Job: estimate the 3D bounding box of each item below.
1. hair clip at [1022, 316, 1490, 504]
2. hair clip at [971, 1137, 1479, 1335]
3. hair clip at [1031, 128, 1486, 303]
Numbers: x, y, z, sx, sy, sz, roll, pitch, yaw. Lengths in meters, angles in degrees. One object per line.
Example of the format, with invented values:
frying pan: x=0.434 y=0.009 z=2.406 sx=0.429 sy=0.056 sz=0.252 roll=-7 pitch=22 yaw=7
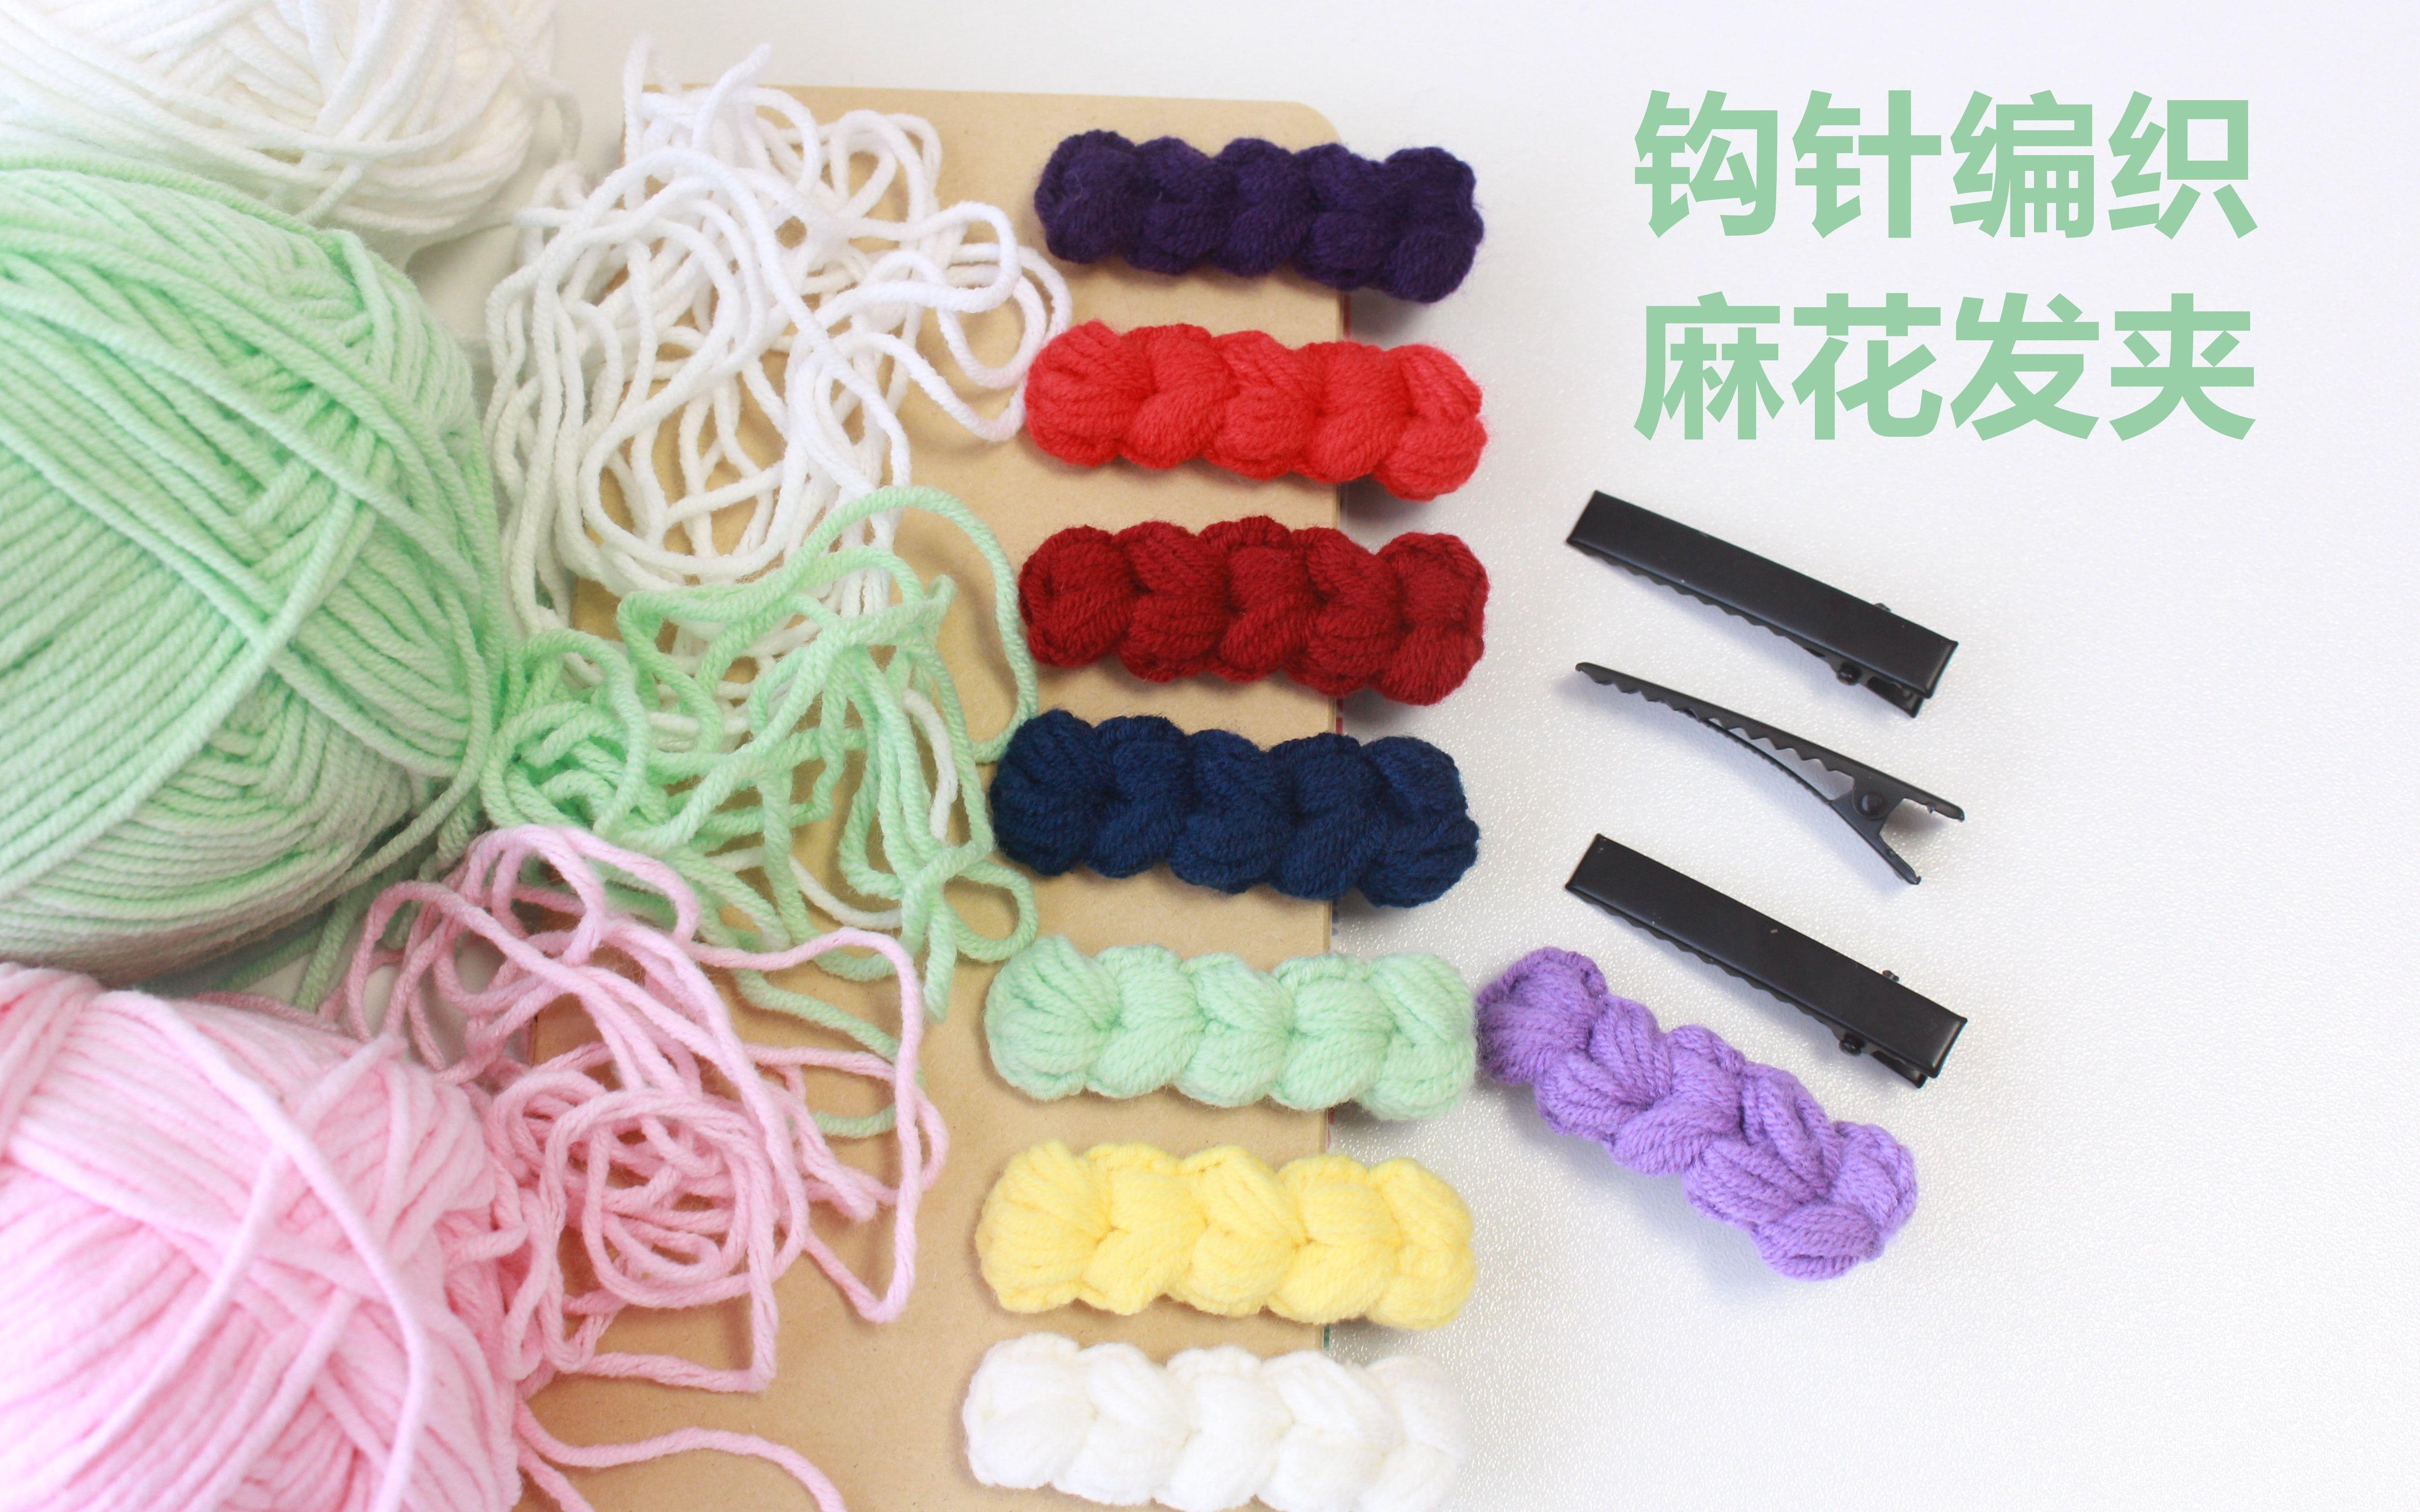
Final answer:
hair clip: x=0.045 y=-0.302 z=2.185 sx=0.425 sy=0.175 sz=0.139 roll=6 pitch=-7 yaw=-5
hair clip: x=0.013 y=0.405 z=2.001 sx=0.451 sy=0.184 sz=0.143 roll=1 pitch=-7 yaw=-4
hair clip: x=0.047 y=-0.480 z=2.210 sx=0.416 sy=0.173 sz=0.128 roll=5 pitch=-1 yaw=-1
